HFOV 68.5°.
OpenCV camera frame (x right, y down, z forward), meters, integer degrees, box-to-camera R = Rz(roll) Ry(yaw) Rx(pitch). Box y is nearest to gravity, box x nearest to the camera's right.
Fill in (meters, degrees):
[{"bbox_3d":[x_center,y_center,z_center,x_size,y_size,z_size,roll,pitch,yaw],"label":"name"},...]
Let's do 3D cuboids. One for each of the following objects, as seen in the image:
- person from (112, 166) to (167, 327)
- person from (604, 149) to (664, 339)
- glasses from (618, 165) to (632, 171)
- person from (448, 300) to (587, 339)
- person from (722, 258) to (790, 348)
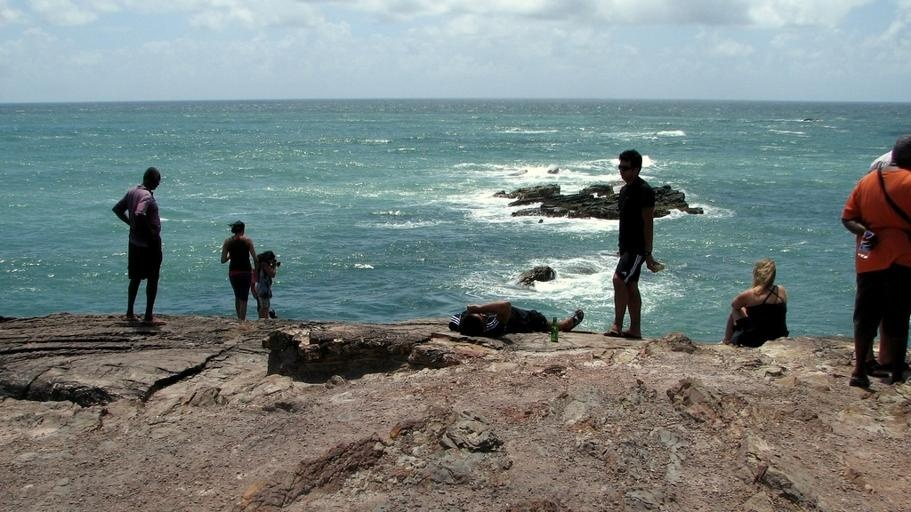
[{"bbox_3d":[-5.573,-0.185,11.897,0.946,2.775,0.803,-9,18,-22],"label":"person"},{"bbox_3d":[2.864,-0.145,10.722,0.734,3.084,0.798,2,17,14],"label":"person"},{"bbox_3d":[2.652,-1.395,10.555,0.134,0.085,0.230,-8,13,-26],"label":"glasses"},{"bbox_3d":[1.023,1.007,10.951,2.118,0.375,0.755,0,2,-21],"label":"person"},{"bbox_3d":[4.711,0.743,10.391,0.912,1.344,0.561,3,17,17],"label":"person"}]
